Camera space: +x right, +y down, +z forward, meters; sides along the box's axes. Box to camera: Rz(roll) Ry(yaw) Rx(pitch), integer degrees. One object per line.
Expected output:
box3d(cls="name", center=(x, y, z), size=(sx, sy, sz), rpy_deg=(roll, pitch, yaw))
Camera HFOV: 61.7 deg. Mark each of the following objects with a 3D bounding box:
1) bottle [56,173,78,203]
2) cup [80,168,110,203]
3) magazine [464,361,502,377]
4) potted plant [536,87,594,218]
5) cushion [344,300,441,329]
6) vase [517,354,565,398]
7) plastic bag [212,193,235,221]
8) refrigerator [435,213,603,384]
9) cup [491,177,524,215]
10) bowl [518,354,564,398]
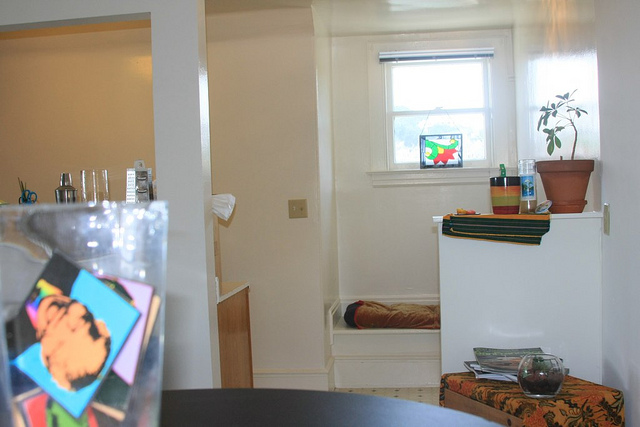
box3d(cls="bottle", center=(-1.230, -0.130, 2.588), size=(0.089, 0.138, 0.319), rpy_deg=(-4, 4, -25))
box3d(cls="cup", center=(-1.159, -0.146, 2.738), size=(0.123, 0.152, 0.301), rpy_deg=(-4, 4, -24))
box3d(cls="magazine", center=(0.737, 0.693, 2.393), size=(0.094, 0.023, 0.094), rpy_deg=(1, 3, -5))
box3d(cls="potted plant", center=(1.204, -0.300, 2.615), size=(0.267, 0.588, 0.281), rpy_deg=(-1, 3, -10))
box3d(cls="cushion", center=(0.524, 0.722, 3.863), size=(0.667, 0.146, 0.305), rpy_deg=(-1, 4, 13))
box3d(cls="vase", center=(0.908, 0.666, 2.193), size=(0.182, 0.172, 0.181), rpy_deg=(-5, -13, 28))
box3d(cls="plastic bag", center=(-0.526, -0.058, 2.792), size=(0.141, 0.126, 0.047), rpy_deg=(16, -10, -34))
box3d(cls="refrigerator", center=(1.030, 0.377, 3.243), size=(0.769, 1.428, 0.783), rpy_deg=(0, 2, 8))
box3d(cls="cup", center=(0.938, -0.083, 2.683), size=(0.167, 0.192, 0.168), rpy_deg=(2, -6, 0))
box3d(cls="bowl", center=(0.905, 0.663, 2.197), size=(0.184, 0.175, 0.185), rpy_deg=(2, -12, 0))
